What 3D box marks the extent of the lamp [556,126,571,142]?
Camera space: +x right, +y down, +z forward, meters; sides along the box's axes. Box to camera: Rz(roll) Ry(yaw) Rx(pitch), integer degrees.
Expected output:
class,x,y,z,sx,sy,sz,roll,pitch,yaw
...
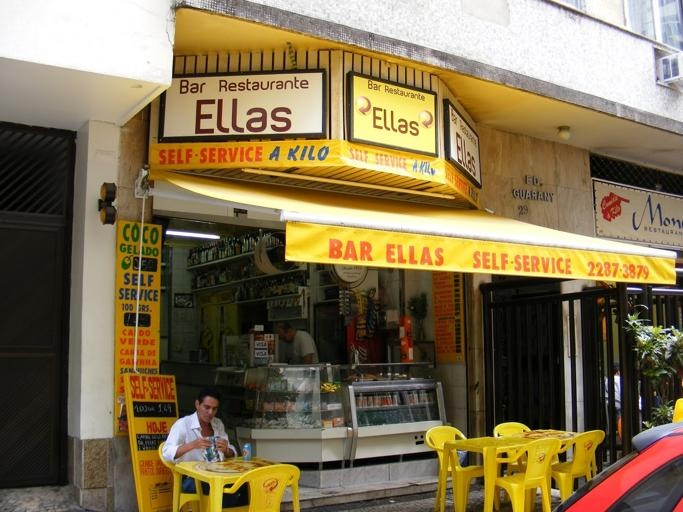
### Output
class,x,y,z,sx,sy,sz,roll,pitch,yaw
lamp,3.283,-1.806,10.441,0.178,0.131,0.182,1,-15,0

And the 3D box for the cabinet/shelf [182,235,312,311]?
class,x,y,z,sx,sy,sz,roll,pitch,yaw
cabinet/shelf,-1.738,0.230,13.240,1.175,1.238,4.705,4,-10,-26

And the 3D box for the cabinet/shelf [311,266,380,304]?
class,x,y,z,sx,sy,sz,roll,pitch,yaw
cabinet/shelf,-0.101,0.468,11.529,1.160,0.622,1.119,5,6,12
